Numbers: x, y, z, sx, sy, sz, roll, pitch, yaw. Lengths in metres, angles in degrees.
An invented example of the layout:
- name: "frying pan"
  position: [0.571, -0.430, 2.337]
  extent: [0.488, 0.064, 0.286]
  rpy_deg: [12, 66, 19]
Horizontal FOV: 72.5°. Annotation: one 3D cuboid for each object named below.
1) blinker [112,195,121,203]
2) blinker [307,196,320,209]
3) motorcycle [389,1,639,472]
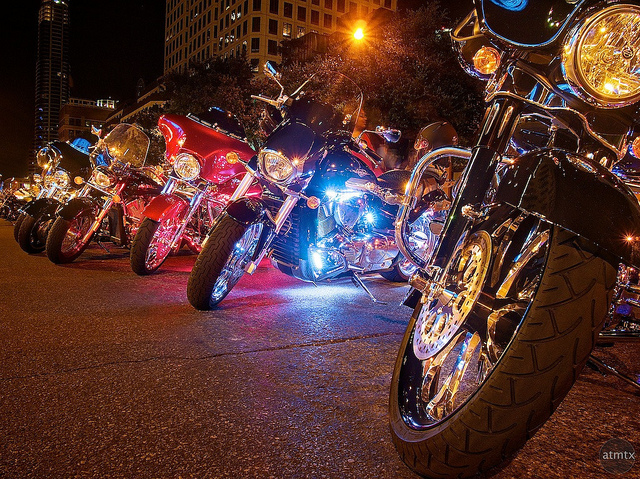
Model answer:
- name: "blinker"
  position: [-3.026, -0.598, 6.466]
  extent: [0.093, 0.101, 0.058]
  rpy_deg: [4, -8, -11]
- name: "blinker"
  position: [-0.063, -0.354, 4.084]
  extent: [0.112, 0.107, 0.056]
  rpy_deg: [1, 7, -1]
- name: "motorcycle"
  position: [1.154, -0.094, 2.804]
  extent: [2.502, 1.717, 1.301]
  rpy_deg: [11, 9, -46]
